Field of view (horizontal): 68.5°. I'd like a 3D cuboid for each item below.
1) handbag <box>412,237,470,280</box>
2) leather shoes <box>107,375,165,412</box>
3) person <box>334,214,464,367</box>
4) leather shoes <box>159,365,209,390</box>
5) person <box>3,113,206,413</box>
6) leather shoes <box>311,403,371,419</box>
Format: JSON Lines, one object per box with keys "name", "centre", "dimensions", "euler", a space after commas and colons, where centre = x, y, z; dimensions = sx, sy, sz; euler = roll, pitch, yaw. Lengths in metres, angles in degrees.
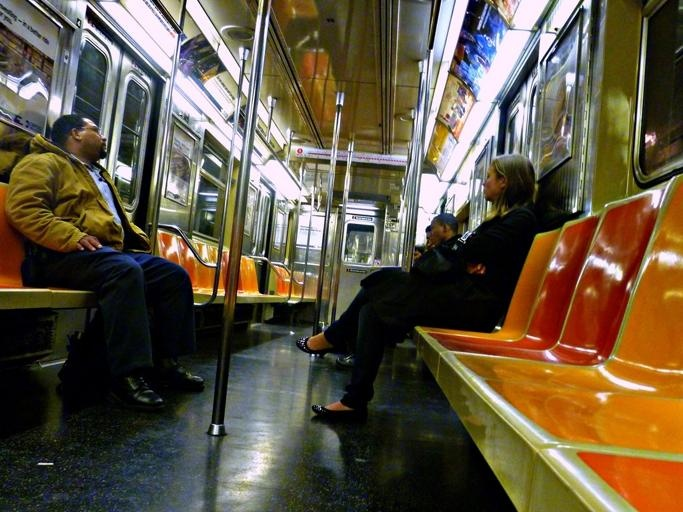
{"name": "handbag", "centre": [0.489, 0.029, 2.508], "dimensions": [0.238, 0.110, 0.201], "euler": [-4, 20, 13]}
{"name": "leather shoes", "centre": [-0.979, 0.653, 2.444], "dimensions": [0.311, 0.142, 0.119], "euler": [5, 0, 24]}
{"name": "person", "centre": [0.281, 0.245, 2.908], "dimensions": [0.811, 1.131, 0.450], "euler": [8, -19, -4]}
{"name": "leather shoes", "centre": [-0.908, 0.697, 2.880], "dimensions": [0.318, 0.134, 0.121], "euler": [8, 9, 7]}
{"name": "person", "centre": [-1.263, -0.051, 2.735], "dimensions": [1.009, 1.395, 0.701], "euler": [4, -3, 7]}
{"name": "leather shoes", "centre": [-0.005, 0.782, 2.485], "dimensions": [0.271, 0.097, 0.101], "euler": [8, -17, 2]}
